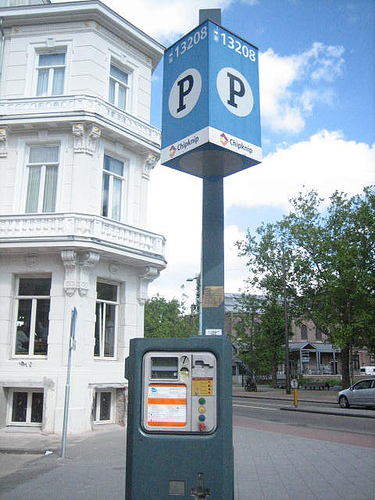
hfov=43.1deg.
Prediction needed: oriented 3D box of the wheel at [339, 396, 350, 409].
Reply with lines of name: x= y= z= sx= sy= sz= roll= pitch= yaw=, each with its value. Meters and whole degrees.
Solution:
wheel: x=7.969 y=7.715 z=24.080 sx=0.161 sy=0.570 sz=0.518 roll=16 pitch=-17 yaw=-7

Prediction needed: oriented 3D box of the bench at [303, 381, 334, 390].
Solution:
bench: x=12.760 y=13.135 z=46.161 sx=2.682 sy=0.699 sz=4.769 roll=-4 pitch=-13 yaw=14
